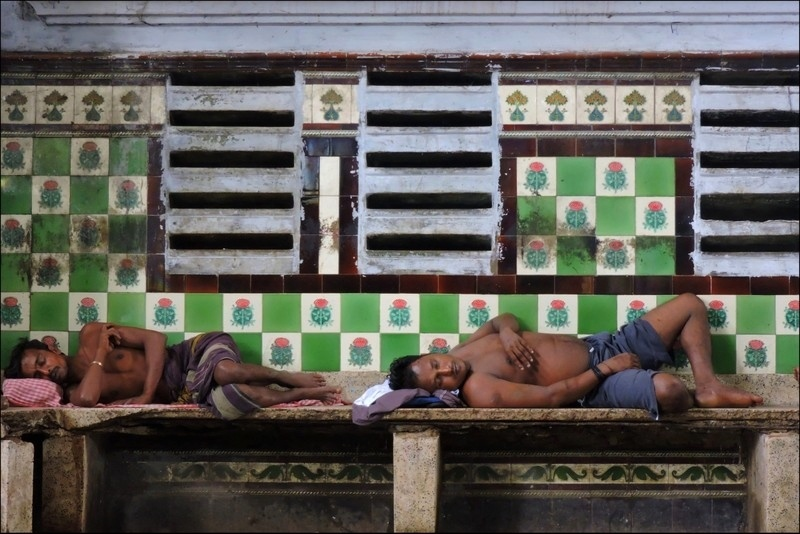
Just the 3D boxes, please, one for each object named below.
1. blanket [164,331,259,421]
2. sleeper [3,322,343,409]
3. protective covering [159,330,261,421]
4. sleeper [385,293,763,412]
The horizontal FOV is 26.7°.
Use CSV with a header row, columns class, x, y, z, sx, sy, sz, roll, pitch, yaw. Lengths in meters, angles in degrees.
class,x,y,z,sx,sy,sz,roll,pitch,yaw
blanket,-1.589,0.871,13.697,0.757,0.381,1.007,-10,33,-10
sleeper,-1.834,0.878,13.818,2.602,0.724,0.925,2,-33,-4
protective covering,-1.552,0.837,13.683,0.624,0.744,0.345,-11,-3,20
sleeper,1.361,0.820,13.507,2.551,0.637,1.125,-8,5,7
